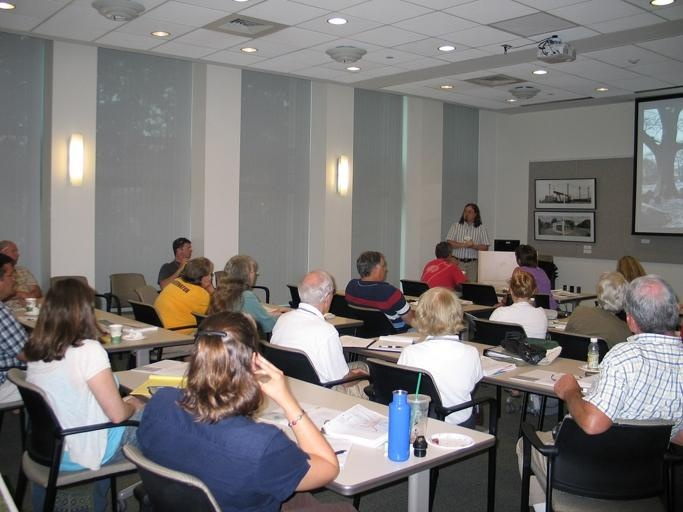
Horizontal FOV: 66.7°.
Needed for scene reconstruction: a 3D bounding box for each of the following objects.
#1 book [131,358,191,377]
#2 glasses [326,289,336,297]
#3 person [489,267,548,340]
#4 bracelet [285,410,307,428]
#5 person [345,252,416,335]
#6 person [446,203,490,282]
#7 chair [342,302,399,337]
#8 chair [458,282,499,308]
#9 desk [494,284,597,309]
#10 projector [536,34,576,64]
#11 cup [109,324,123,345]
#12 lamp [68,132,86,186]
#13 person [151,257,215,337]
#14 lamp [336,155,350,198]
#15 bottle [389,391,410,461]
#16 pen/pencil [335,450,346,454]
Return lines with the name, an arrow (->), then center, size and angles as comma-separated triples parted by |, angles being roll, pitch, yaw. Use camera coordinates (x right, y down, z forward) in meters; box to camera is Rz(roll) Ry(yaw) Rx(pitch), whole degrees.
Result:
book -> -1.059, 0.670, 3.100 | 0.172, 0.008, 0.198 | 2, 3, 17
glasses -> -0.076, 0.252, 3.595 | 0.081, 0.037, 0.114 | 2, 1, 13
person -> 1.473, 0.456, 4.374 | 0.512, 0.714, 0.410 | 2, 6, 0
bracelet -> -0.165, 0.597, 1.901 | 0.062, 0.018, 0.064 | -43, -4, 2
person -> 0.339, 0.328, 5.139 | 0.469, 0.771, 0.858 | -16, 14, -42
person -> 2.012, 0.050, 8.430 | 0.686, 1.803, 0.586 | 3, 18, 8
chair -> 0.265, 0.601, 5.017 | 0.347, 0.472, 0.321 | -6, 7, -39
chair -> 1.743, 0.469, 6.546 | 0.370, 0.241, 0.305 | 2, 2, 39
desk -> 2.399, 0.475, 6.106 | 0.425, 0.331, 0.663 | -2, 3, -40
projector -> 2.272, -2.219, 5.478 | 0.323, 0.287, 0.431 | 1, 6, 29
cup -> -1.620, 0.565, 3.773 | 0.134, 0.161, 0.115 | 2, -1, -10
lamp -> -3.249, -1.174, 6.324 | 0.179, 0.611, 0.082 | -6, 7, -37
person -> -1.460, 0.368, 4.754 | 0.362, 0.868, 0.503 | 27, 25, 35
lamp -> 0.039, -1.318, 8.452 | 0.100, 0.642, 0.339 | 3, 7, 39
bottle -> 0.233, 0.687, 2.145 | 0.095, 0.286, 0.113 | -1, 6, 4
pen/pencil -> -0.005, 0.817, 2.172 | 0.029, 0.007, 0.028 | 0, -3, -14
